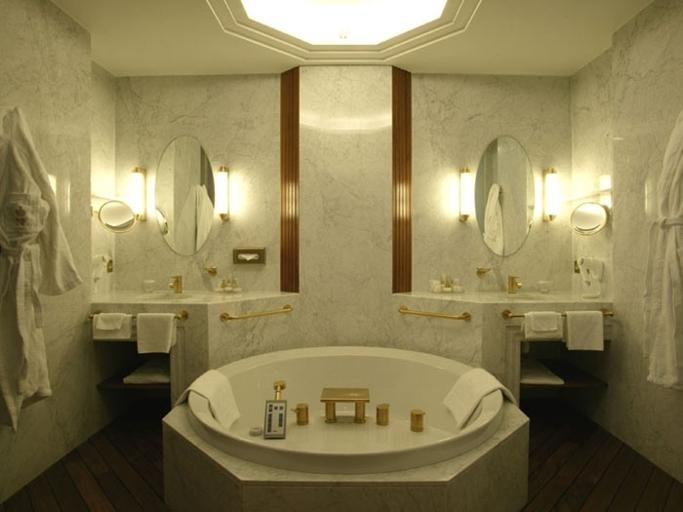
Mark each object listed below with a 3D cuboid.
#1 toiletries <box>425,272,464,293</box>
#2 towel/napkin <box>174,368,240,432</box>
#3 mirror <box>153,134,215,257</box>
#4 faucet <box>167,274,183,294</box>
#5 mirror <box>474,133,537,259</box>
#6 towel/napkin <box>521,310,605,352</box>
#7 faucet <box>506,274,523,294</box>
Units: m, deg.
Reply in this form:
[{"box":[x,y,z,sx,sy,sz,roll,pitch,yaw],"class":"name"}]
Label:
[{"box":[0.831,0.214,4.211,0.244,0.134,0.145,1,14,2],"class":"toiletries"},{"box":[-0.753,0.932,3.228,0.330,0.337,0.365,6,15,25],"class":"towel/napkin"},{"box":[-1.268,-0.492,4.291,0.461,0.928,0.260,-2,14,-7],"class":"mirror"},{"box":[-1.311,0.218,4.190,0.119,0.165,0.259,-5,14,-19],"class":"faucet"},{"box":[1.336,-0.490,4.307,0.487,0.938,0.252,1,13,3],"class":"mirror"},{"box":[1.584,0.542,3.662,0.657,0.317,0.180,-2,14,-7],"class":"towel/napkin"},{"box":[1.361,0.229,4.196,0.090,0.159,0.154,0,3,-14],"class":"faucet"}]
